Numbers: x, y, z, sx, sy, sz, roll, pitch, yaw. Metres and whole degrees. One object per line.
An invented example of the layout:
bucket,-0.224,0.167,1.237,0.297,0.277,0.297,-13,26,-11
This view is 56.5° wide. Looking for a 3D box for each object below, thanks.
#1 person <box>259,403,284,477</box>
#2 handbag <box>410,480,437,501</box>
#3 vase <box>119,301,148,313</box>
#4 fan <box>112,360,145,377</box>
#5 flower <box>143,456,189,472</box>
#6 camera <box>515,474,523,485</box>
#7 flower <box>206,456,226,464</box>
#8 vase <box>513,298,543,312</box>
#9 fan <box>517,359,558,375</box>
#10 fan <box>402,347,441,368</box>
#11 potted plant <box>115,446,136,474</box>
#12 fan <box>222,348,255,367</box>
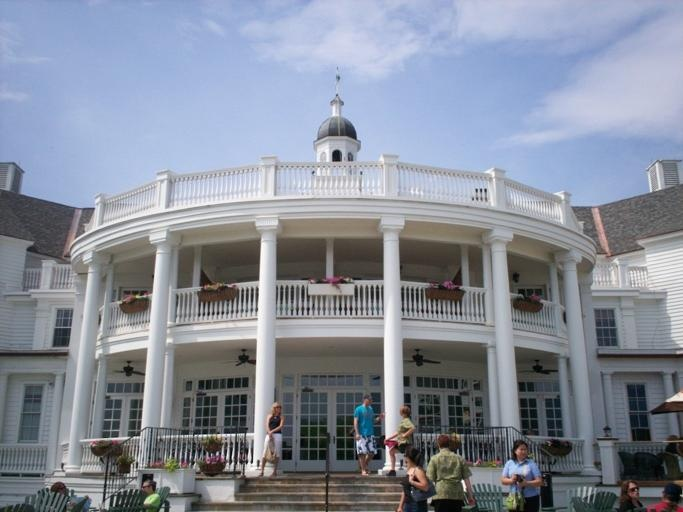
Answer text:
person,-2.015,5.230,18.253,0.596,2.046,1.358,3,-21,-6
handbag,1.454,4.220,11.487,0.501,0.394,0.181,-14,-2,-13
vase,-7.303,1.792,22.236,0.818,0.243,0.529,-5,-14,22
fan,-8.420,4.465,25.276,1.072,0.557,1.416,8,-20,-22
flower,-4.958,5.860,17.922,0.944,0.253,0.831,-2,-18,5
camera,3.465,4.389,12.533,0.169,0.251,0.157,2,-42,12
flower,-3.560,5.738,17.913,0.316,0.095,0.297,-2,-11,26
vase,6.507,1.749,22.360,0.995,0.286,0.461,10,-14,-15
fan,7.935,4.379,25.180,1.191,0.458,1.281,-3,-18,8
fan,2.923,3.767,23.279,0.998,0.465,1.962,-5,-19,15
potted plant,-6.514,6.207,19.205,0.692,0.557,0.585,1,-12,-2
fan,-3.668,3.680,22.859,1.028,0.250,0.937,2,-2,15
